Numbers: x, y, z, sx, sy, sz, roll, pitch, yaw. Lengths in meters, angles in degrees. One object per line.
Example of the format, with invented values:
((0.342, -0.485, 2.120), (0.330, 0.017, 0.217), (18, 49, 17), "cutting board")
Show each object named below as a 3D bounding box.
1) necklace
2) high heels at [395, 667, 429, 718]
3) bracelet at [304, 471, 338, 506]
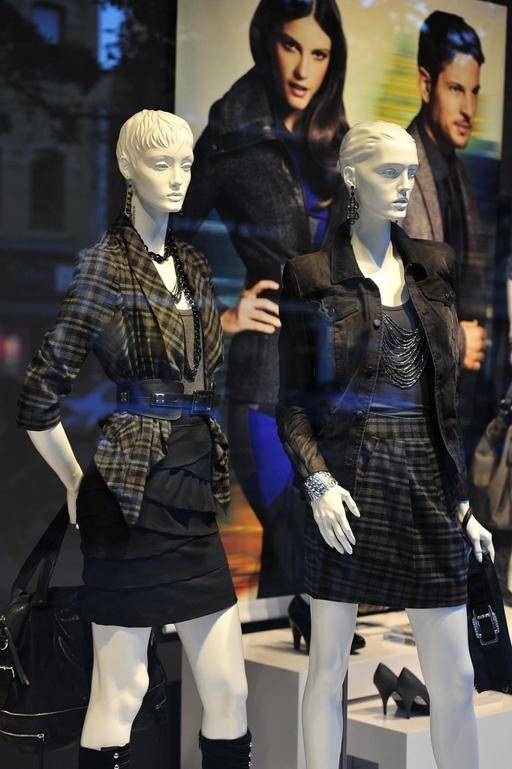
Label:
((-0.190, -0.184, 1.902), (0.116, 0.018, 0.360), (18, 49, -34), "necklace")
((0.464, 0.912, 2.290), (0.068, 0.078, 0.200), (-4, -7, 20), "high heels")
((0.135, 0.216, 1.680), (0.058, 0.070, 0.063), (26, 47, -6), "bracelet")
